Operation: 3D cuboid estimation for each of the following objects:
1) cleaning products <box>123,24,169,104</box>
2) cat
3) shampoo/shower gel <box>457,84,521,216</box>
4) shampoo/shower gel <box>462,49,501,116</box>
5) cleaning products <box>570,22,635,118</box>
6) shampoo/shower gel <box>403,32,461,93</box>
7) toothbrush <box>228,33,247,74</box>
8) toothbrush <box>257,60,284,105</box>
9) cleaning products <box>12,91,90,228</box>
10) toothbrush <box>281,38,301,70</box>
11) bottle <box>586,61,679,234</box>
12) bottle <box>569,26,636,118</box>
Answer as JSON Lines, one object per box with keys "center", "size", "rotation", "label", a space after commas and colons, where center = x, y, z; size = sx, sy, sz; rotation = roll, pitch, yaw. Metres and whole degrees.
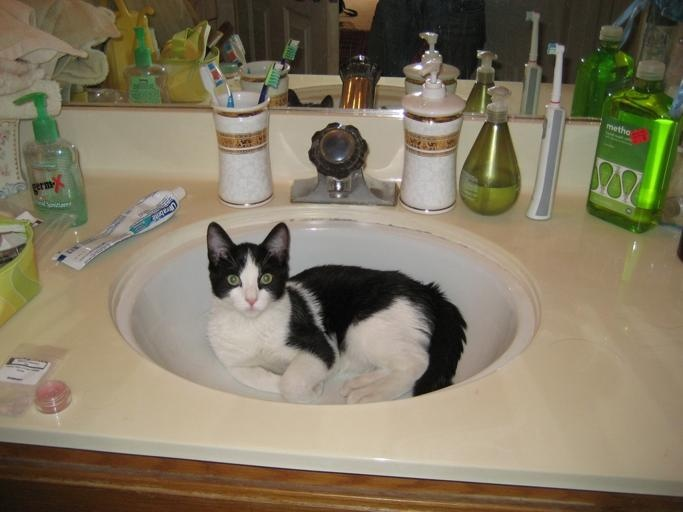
{"center": [-0.473, -0.463, 1.312], "size": [0.061, 0.204, 0.103], "rotation": [-11, 39, -20], "label": "cleaning products"}
{"center": [-0.025, 0.033, 1.141], "size": [0.476, 0.358, 0.418], "rotation": [1, 32, -1], "label": "cat"}
{"center": [0.305, -0.225, 1.145], "size": [0.118, 0.276, 0.137], "rotation": [-9, 24, -21], "label": "shampoo/shower gel"}
{"center": [0.317, -0.401, 1.236], "size": [0.063, 0.143, 0.085], "rotation": [-7, 34, -2], "label": "shampoo/shower gel"}
{"center": [0.577, -0.415, 1.204], "size": [0.092, 0.208, 0.117], "rotation": [-3, 32, -7], "label": "cleaning products"}
{"center": [0.186, -0.442, 1.233], "size": [0.129, 0.195, 0.135], "rotation": [-1, 28, -3], "label": "shampoo/shower gel"}
{"center": [-0.246, -0.492, 1.251], "size": [0.032, 0.065, 0.011], "rotation": [-5, 19, 9], "label": "toothbrush"}
{"center": [-0.148, -0.381, 1.129], "size": [0.011, 0.038, 0.137], "rotation": [-5, -8, -25], "label": "toothbrush"}
{"center": [-0.618, -0.211, 1.180], "size": [0.121, 0.285, 0.154], "rotation": [7, 24, 13], "label": "cleaning products"}
{"center": [-0.113, -0.466, 1.191], "size": [0.027, 0.016, 0.108], "rotation": [6, 8, -13], "label": "toothbrush"}
{"center": [0.548, -0.185, 1.090], "size": [0.114, 0.394, 0.177], "rotation": [-7, 29, -13], "label": "bottle"}
{"center": [0.574, -0.412, 1.212], "size": [0.094, 0.201, 0.123], "rotation": [-4, 32, -7], "label": "bottle"}
